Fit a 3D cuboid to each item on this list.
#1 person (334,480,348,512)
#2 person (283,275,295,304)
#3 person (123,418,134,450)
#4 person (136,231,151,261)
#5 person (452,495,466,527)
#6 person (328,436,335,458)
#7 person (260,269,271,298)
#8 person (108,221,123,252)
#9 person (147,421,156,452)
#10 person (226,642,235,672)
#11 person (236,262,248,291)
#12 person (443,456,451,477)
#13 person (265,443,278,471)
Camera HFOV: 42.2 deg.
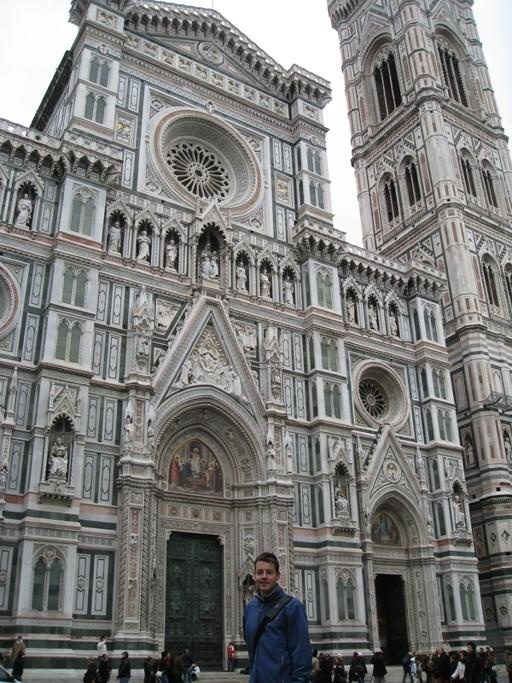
[{"bbox_3d":[2.759,5.014,21.278,0.307,1.133,0.650,-14,-28,30],"label":"person"},{"bbox_3d":[1.196,-1.922,24.227,0.223,1.372,0.550,-17,-30,34],"label":"person"},{"bbox_3d":[-3.357,2.450,17.866,0.305,0.873,0.200,20,-30,-35],"label":"person"},{"bbox_3d":[-3.518,-3.021,21.148,0.238,1.233,0.489,-20,-32,39],"label":"person"},{"bbox_3d":[7.425,6.240,24.229,0.200,1.216,0.792,-17,-30,34],"label":"person"},{"bbox_3d":[2.516,3.491,21.833,0.234,0.761,0.379,-3,-25,9],"label":"person"},{"bbox_3d":[0.346,-2.109,23.713,0.265,1.328,0.466,-18,-31,37],"label":"person"},{"bbox_3d":[-4.351,-3.241,20.632,0.335,1.243,0.397,-2,-25,7],"label":"person"},{"bbox_3d":[-2.812,2.628,18.246,0.173,0.861,0.365,-12,-28,27],"label":"person"},{"bbox_3d":[-0.645,8.586,18.060,0.230,0.707,0.447,2,-24,-1],"label":"person"},{"bbox_3d":[-0.455,-2.293,23.138,0.217,1.303,0.559,-14,-29,31],"label":"person"},{"bbox_3d":[7.156,4.690,24.830,0.202,0.793,0.357,-10,-27,24],"label":"person"},{"bbox_3d":[0.479,3.499,20.372,0.276,0.961,0.164,4,-25,-6],"label":"person"}]
